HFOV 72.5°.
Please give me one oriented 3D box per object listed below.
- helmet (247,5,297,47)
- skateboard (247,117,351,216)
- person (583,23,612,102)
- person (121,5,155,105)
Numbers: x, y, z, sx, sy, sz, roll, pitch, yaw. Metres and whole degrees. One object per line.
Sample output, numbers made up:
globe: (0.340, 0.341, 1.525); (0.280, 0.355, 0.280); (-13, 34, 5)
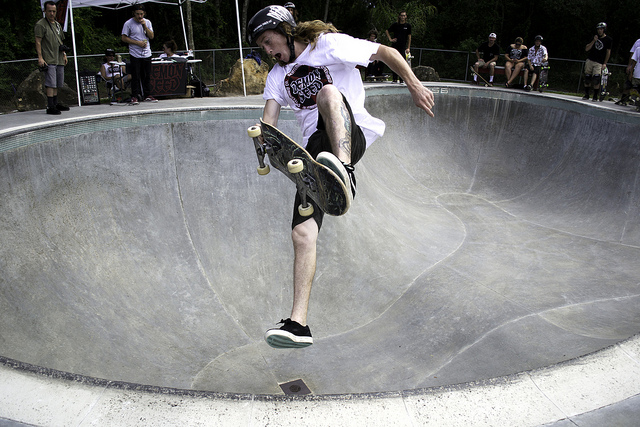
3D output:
helmet: (-0.506, -1.758, 4.075); (0.434, 0.262, 0.316); (-37, 9, -15)
skateboard: (-0.402, -0.538, 3.970); (0.245, 0.454, 1.672); (-17, 40, -36)
person: (7.015, -3.877, 11.113); (0.507, 1.876, 0.992); (11, 18, 28)
person: (-4.171, -3.694, 10.088); (0.641, 2.214, 1.407); (-4, 17, -20)
